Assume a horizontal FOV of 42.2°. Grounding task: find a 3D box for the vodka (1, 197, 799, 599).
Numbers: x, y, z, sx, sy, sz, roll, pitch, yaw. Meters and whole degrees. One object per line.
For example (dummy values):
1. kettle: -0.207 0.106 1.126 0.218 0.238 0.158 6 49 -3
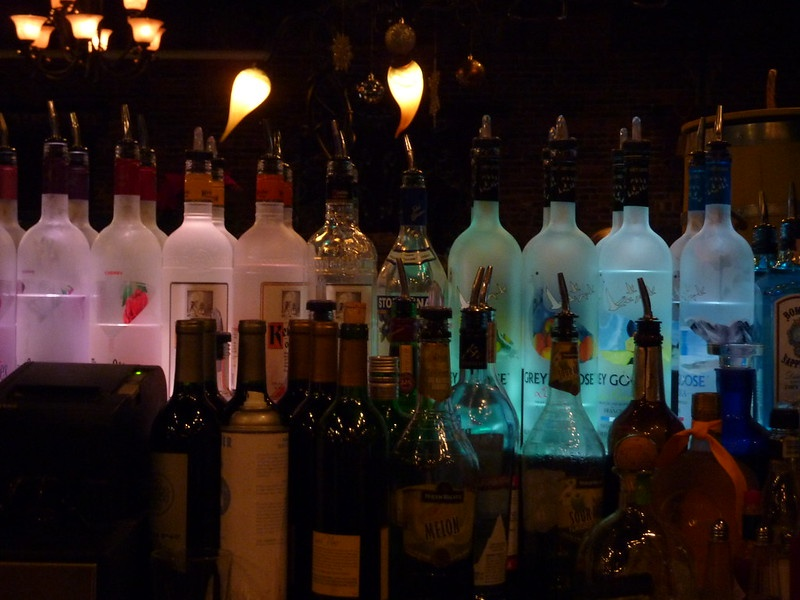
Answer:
1. vodka: -0.002 0.187 1.469 1.138 0.468 0.158 0 -5 1
